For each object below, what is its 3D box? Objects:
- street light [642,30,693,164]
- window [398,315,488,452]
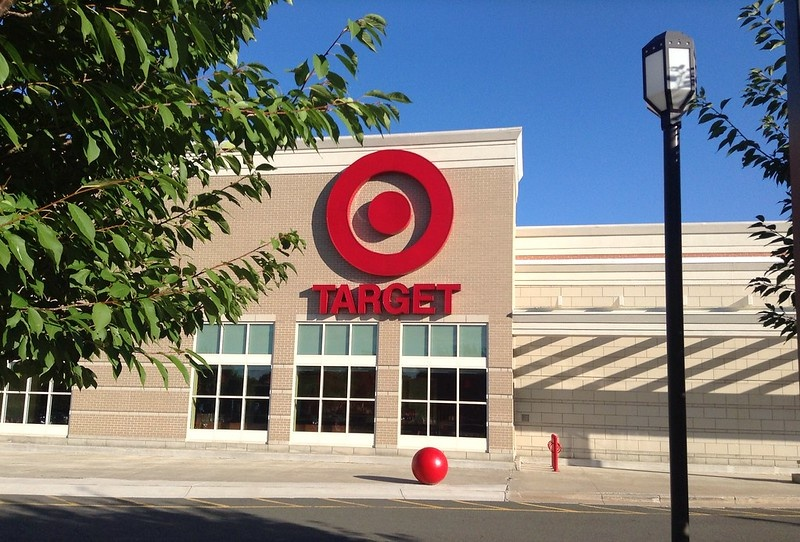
[{"bbox_3d":[4.103,-2.906,13.944,0.752,1.414,0.454,-2,-15,15],"label":"street light"},{"bbox_3d":[1.557,3.930,30.939,4.450,6.023,0.243,-1,-8,10],"label":"window"}]
